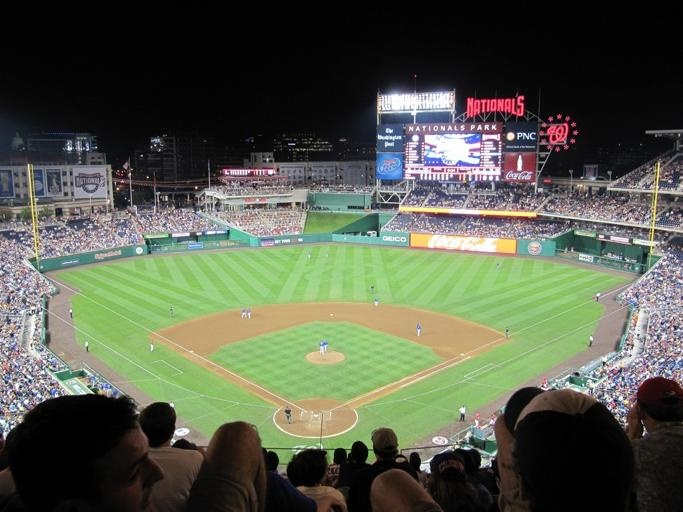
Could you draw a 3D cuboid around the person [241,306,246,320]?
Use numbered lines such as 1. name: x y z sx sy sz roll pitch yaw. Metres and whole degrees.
1. person: -7.116 4.186 39.322 0.330 0.371 1.058 -1 9 -8
